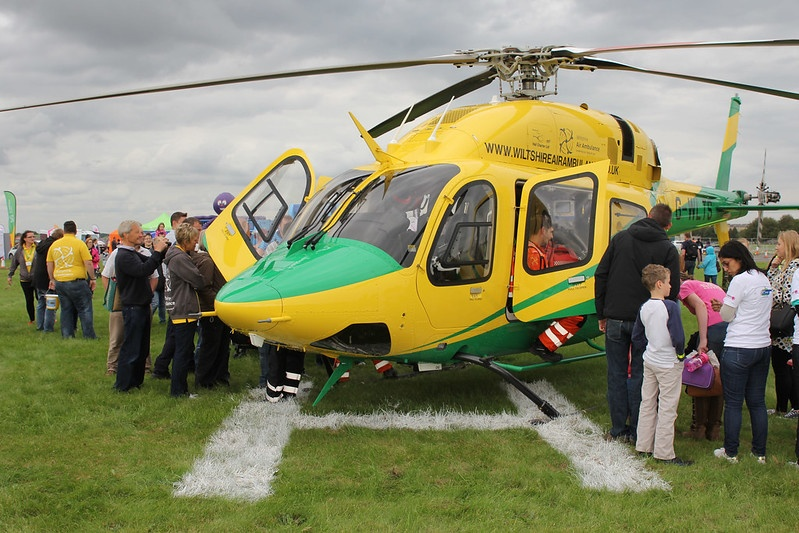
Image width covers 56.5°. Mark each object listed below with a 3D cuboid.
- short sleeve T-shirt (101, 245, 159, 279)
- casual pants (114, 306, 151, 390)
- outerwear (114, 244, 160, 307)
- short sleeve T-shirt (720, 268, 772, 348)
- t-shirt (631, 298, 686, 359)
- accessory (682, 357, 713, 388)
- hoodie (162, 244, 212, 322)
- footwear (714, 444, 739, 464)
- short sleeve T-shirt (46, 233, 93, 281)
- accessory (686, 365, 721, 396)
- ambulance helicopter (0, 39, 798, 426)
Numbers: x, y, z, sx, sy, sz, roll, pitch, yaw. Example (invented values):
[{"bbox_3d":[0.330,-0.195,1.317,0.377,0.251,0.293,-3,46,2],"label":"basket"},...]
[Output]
[{"bbox_3d":[-3.743,-0.061,10.394,0.955,0.640,0.387,0,-4,-14],"label":"short sleeve T-shirt"},{"bbox_3d":[-3.599,1.072,10.005,0.399,1.093,0.452,-1,-10,2],"label":"casual pants"},{"bbox_3d":[-3.460,0.130,10.016,0.710,0.771,0.658,0,9,4],"label":"outerwear"},{"bbox_3d":[3.930,0.461,8.586,0.584,0.871,0.830,2,-2,43],"label":"short sleeve T-shirt"},{"bbox_3d":[2.871,0.701,8.287,0.353,0.707,0.687,-13,14,-38],"label":"t-shirt"},{"bbox_3d":[3.440,1.212,8.572,0.488,0.389,0.159,0,0,-16],"label":"accessory"},{"bbox_3d":[-2.713,0.222,9.986,0.672,1.002,0.757,-6,-2,37],"label":"hoodie"},{"bbox_3d":[3.675,2.108,8.394,0.105,0.102,0.265,-7,19,-31],"label":"footwear"},{"bbox_3d":[-5.550,-0.153,12.630,0.902,0.714,0.512,0,10,21],"label":"short sleeve T-shirt"},{"bbox_3d":[3.520,1.303,8.601,0.230,0.353,0.400,4,-4,-21],"label":"accessory"},{"bbox_3d":[1.178,-0.571,10.090,7.115,2.608,6.047,-6,9,-39],"label":"ambulance helicopter"}]
